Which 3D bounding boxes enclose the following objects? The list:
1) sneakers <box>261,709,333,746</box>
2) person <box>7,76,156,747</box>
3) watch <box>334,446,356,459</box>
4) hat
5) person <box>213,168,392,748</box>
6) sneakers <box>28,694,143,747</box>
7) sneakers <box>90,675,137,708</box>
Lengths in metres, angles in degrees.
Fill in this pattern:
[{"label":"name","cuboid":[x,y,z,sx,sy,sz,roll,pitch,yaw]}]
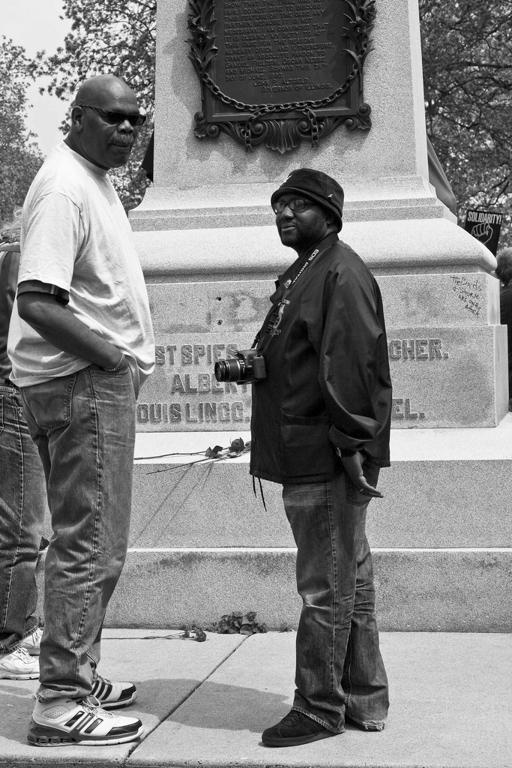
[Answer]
[{"label":"sneakers","cuboid":[0.138,1.148,4.480,0.267,0.124,0.092,3,-5,-10]},{"label":"person","cuboid":[-0.583,0.053,4.542,0.455,2.275,0.556,-1,3,-1]},{"label":"watch","cuboid":[0.293,0.219,4.334,0.045,0.033,0.036,1,2,22]},{"label":"hat","cuboid":[0.187,-0.672,4.617,0.177,0.118,0.223,4,-27,36]},{"label":"person","cuboid":[0.198,0.225,4.494,0.550,1.922,0.450,2,5,44]},{"label":"sneakers","cuboid":[-0.570,1.127,4.509,0.402,0.193,0.148,1,-7,-10]},{"label":"sneakers","cuboid":[-0.506,1.100,4.781,0.071,0.100,0.214,-1,-6,40]}]
